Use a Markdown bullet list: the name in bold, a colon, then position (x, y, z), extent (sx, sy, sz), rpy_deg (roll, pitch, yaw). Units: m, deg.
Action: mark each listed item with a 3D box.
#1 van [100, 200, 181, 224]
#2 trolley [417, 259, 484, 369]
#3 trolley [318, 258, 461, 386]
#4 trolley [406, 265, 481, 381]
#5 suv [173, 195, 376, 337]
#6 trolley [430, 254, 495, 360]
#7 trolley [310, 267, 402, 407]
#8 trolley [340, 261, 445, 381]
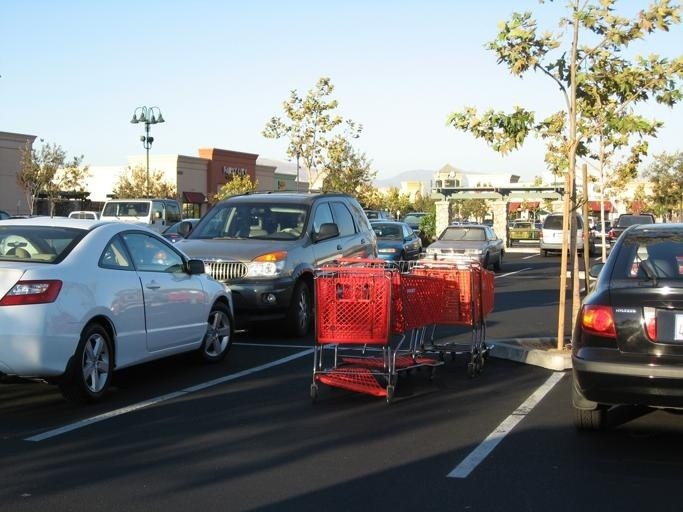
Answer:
- **van**: position (-9.090, -2.233, 29.314), extent (1.594, 1.474, 2.539), rpy_deg (1, -3, 12)
- **trolley**: position (1.671, 0.825, 8.995), extent (0.964, 1.652, 1.718), rpy_deg (1, -8, 8)
- **trolley**: position (0.604, 0.764, 7.818), extent (1.025, 1.529, 2.143), rpy_deg (1, 1, 27)
- **trolley**: position (1.439, 0.861, 8.577), extent (0.819, 1.509, 1.442), rpy_deg (1, -2, -16)
- **suv**: position (-0.957, -0.015, 12.009), extent (2.000, 1.764, 3.678), rpy_deg (-2, -4, 18)
- **trolley**: position (1.703, 0.789, 8.837), extent (0.844, 1.624, 1.597), rpy_deg (1, 3, 26)
- **trolley**: position (0.207, 0.935, 7.353), extent (0.765, 1.486, 1.425), rpy_deg (2, 0, 17)
- **trolley**: position (0.454, 0.820, 7.951), extent (0.985, 1.463, 2.030), rpy_deg (-1, -5, -18)
